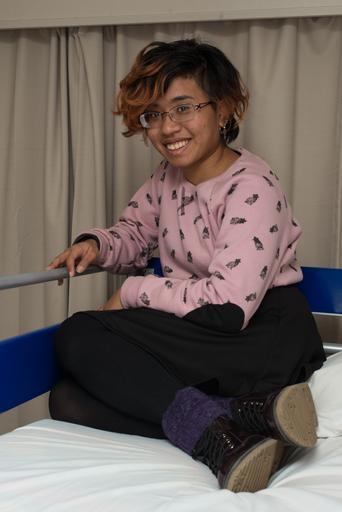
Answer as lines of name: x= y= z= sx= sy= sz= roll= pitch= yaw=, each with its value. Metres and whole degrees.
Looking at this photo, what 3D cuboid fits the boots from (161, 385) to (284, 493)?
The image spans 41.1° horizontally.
boots: x=0.073 y=0.294 z=0.783 sx=0.119 sy=0.082 sz=0.248 roll=23 pitch=6 yaw=-19
